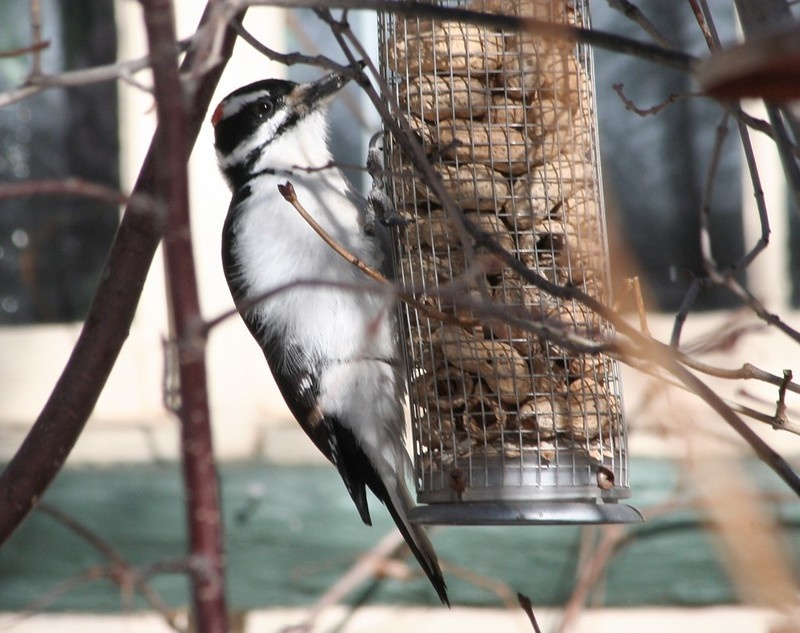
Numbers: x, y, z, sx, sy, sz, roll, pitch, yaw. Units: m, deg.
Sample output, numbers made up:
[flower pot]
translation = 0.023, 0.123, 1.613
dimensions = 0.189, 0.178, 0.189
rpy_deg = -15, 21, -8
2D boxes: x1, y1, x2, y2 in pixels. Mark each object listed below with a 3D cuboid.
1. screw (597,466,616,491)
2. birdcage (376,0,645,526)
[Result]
[screw]
translation = 0.572, 0.452, 3.558
dimensions = 0.044, 0.067, 0.020
rpy_deg = -5, -13, 9
[birdcage]
translation = 0.296, -0.206, 3.684
dimensions = 0.664, 1.623, 0.550
rpy_deg = -4, -13, 3
